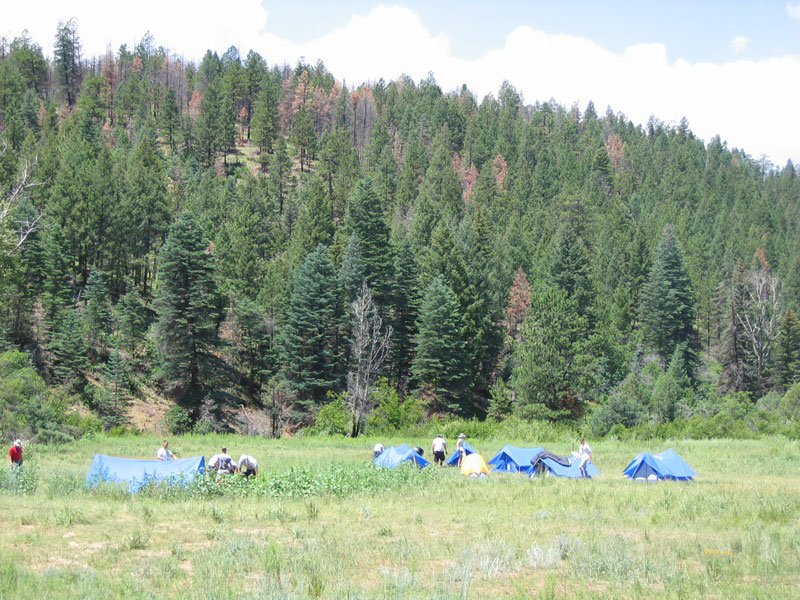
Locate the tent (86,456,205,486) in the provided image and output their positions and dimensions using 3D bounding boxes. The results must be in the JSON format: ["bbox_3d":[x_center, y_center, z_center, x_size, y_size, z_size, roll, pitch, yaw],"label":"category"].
[{"bbox_3d":[-30.947,21.242,190.614,13.165,3.474,15.235,-2,1,40],"label":"tent"}]
